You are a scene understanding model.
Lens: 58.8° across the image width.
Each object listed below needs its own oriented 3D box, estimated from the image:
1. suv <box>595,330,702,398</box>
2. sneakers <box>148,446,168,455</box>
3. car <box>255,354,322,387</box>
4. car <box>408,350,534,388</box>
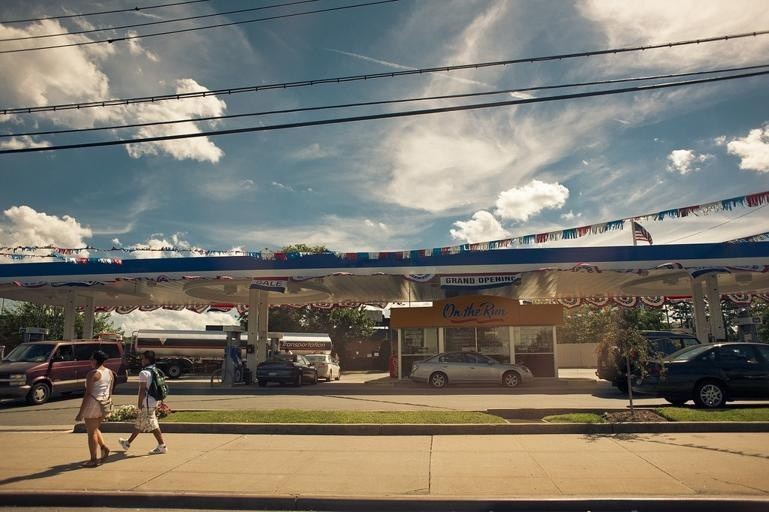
[{"bbox_3d":[10.024,4.194,26.436,5.743,2.316,2.801,-2,-5,-8],"label":"suv"},{"bbox_3d":[-5.932,5.120,18.000,0.539,0.208,0.179,-2,-17,-3],"label":"sneakers"},{"bbox_3d":[-4.619,5.564,32.245,1.663,1.696,2.741,6,12,34],"label":"car"},{"bbox_3d":[3.974,5.129,30.500,4.926,1.259,1.940,-1,-9,3],"label":"car"}]
